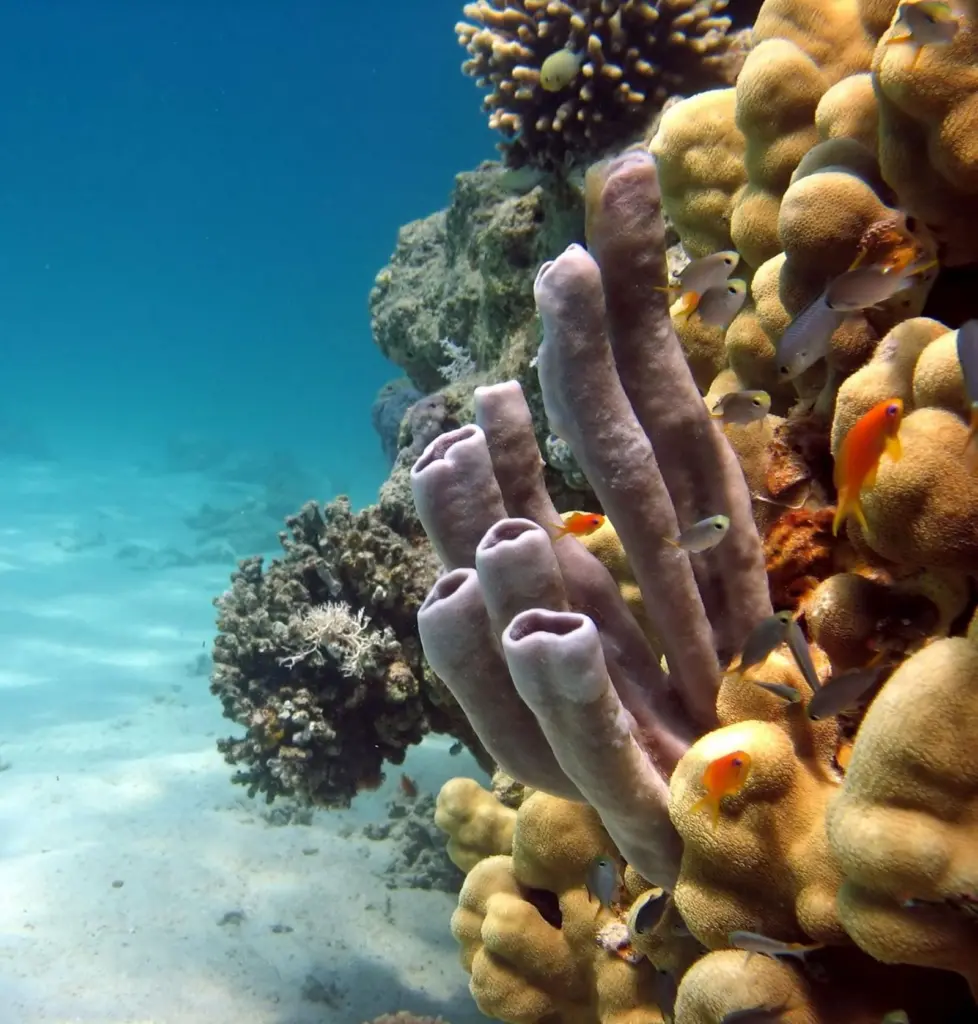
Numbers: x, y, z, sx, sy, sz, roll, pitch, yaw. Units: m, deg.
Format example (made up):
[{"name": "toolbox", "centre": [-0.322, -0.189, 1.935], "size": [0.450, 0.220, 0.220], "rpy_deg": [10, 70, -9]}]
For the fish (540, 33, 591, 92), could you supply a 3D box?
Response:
[{"name": "fish", "centre": [0.328, -2.012, 4.939], "size": [0.323, 0.125, 0.157], "rpy_deg": [-56, -14, -24]}]

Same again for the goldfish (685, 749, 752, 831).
[{"name": "goldfish", "centre": [0.447, 0.520, 2.072], "size": [0.147, 0.088, 0.059], "rpy_deg": [-52, 28, 7]}]
